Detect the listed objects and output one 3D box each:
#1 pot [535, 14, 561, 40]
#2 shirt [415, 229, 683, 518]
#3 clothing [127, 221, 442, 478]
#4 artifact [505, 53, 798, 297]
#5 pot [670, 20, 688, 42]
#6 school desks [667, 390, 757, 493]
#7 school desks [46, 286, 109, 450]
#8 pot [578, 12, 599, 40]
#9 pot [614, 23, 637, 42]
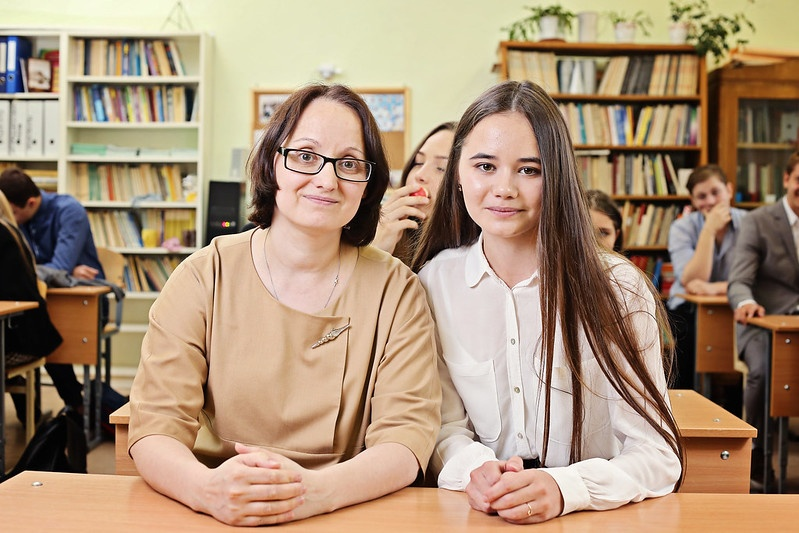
[{"bbox_3d":[1.170,-1.847,5.397,0.187,0.179,0.158,-17,25,-41],"label":"pot"},{"bbox_3d":[0.488,0.399,2.655,1.012,0.992,0.679,3,23,41],"label":"shirt"},{"bbox_3d":[-0.333,0.338,2.843,1.296,1.237,0.734,3,-5,-3],"label":"clothing"},{"bbox_3d":[1.706,-0.642,4.381,1.892,1.850,0.612,0,-2,1],"label":"artifact"},{"bbox_3d":[2.203,-1.838,5.469,0.149,0.126,0.138,-1,5,0],"label":"pot"},{"bbox_3d":[1.351,0.769,2.992,0.250,0.411,0.781,1,-2,8],"label":"school desks"},{"bbox_3d":[-2.075,0.658,4.539,0.374,1.048,0.348,-1,2,-10],"label":"school desks"},{"bbox_3d":[1.484,-1.863,5.456,0.151,0.262,0.128,0,2,9],"label":"pot"},{"bbox_3d":[1.765,-1.822,5.431,0.156,0.121,0.150,-2,9,0],"label":"pot"}]
